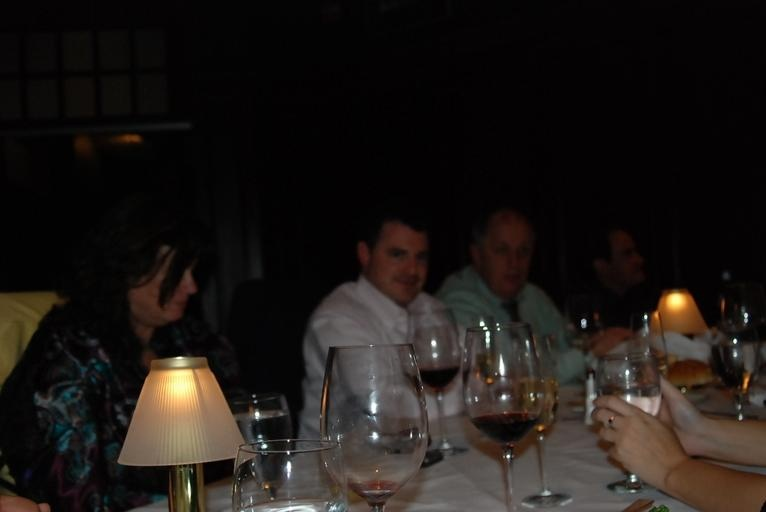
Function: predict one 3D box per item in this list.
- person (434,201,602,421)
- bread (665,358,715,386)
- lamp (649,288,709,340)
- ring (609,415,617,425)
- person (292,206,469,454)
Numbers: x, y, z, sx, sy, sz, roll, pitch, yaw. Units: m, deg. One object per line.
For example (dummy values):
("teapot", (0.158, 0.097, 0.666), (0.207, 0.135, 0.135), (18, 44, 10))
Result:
("person", (0.645, 0.256, 3.316), (0.662, 1.005, 0.921), (1, 7, -8))
("bread", (0.909, 0.348, 1.976), (0.106, 0.036, 0.119), (-4, 2, 2))
("lamp", (1.278, 0.252, 2.890), (0.251, 0.198, 0.241), (-1, -1, 10))
("ring", (0.452, 0.330, 1.313), (0.003, 0.014, 0.014), (23, -15, -12))
("person", (0.083, 0.367, 2.845), (0.654, 1.251, 0.739), (-6, 16, -5))
